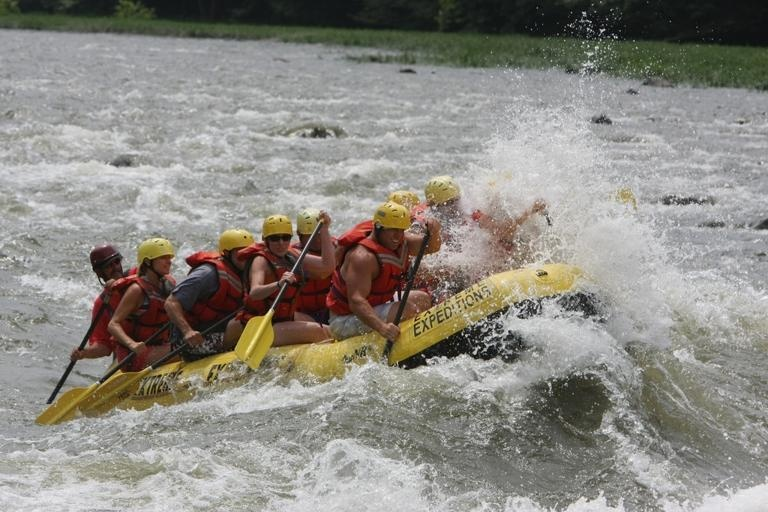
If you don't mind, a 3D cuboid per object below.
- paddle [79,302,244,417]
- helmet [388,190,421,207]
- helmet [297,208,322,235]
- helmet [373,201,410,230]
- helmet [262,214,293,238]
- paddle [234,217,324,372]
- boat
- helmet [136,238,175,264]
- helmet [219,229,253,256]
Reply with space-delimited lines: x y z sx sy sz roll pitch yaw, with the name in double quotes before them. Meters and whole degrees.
"paddle" -3.798 1.838 20.277 2.941 0.295 0.394 -35 52 1
"helmet" 0.381 -1.096 21.575 0.536 0.384 0.374 1 18 -33
"helmet" -1.372 -0.643 20.814 0.489 0.420 0.351 -23 13 -17
"helmet" 0.121 -0.700 19.868 0.613 0.415 0.328 3 30 0
"helmet" -1.845 -0.560 20.290 0.491 0.355 0.365 -11 -6 12
"paddle" -1.865 0.733 20.208 3.464 0.636 0.255 -53 16 -28
"boat" -0.339 1.501 20.369 8.922 1.201 2.875 -18 -11 6
"helmet" -4.057 -0.116 20.633 0.598 0.443 0.432 -27 -3 10
"helmet" -2.689 -0.249 20.427 0.535 0.393 0.389 -29 -7 28
